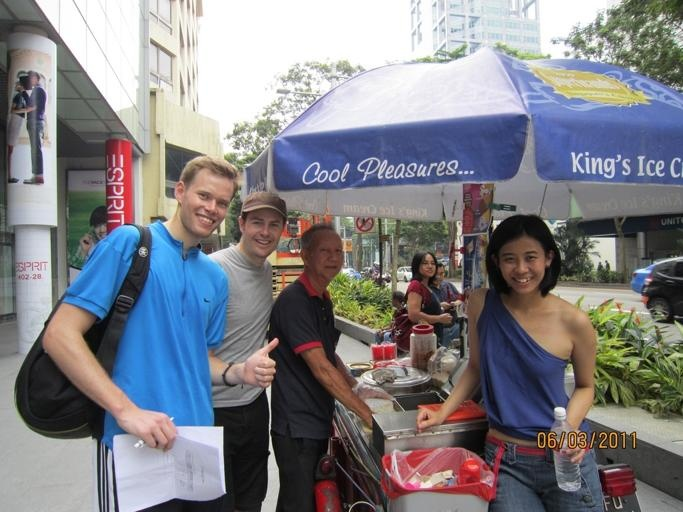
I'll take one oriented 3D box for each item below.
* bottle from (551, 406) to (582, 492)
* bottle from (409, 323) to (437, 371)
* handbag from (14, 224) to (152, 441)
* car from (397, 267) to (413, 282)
[{"bbox_3d":[1.351,1.166,3.146,0.166,0.400,0.115,-2,0,15],"label":"bottle"},{"bbox_3d":[0.728,0.836,4.707,0.260,0.498,0.271,1,-10,0],"label":"bottle"},{"bbox_3d":[-1.587,0.527,3.698,0.802,1.723,1.069,9,-8,-21],"label":"handbag"},{"bbox_3d":[4.234,1.325,35.724,1.071,1.006,1.892,1,-6,-18],"label":"car"}]
